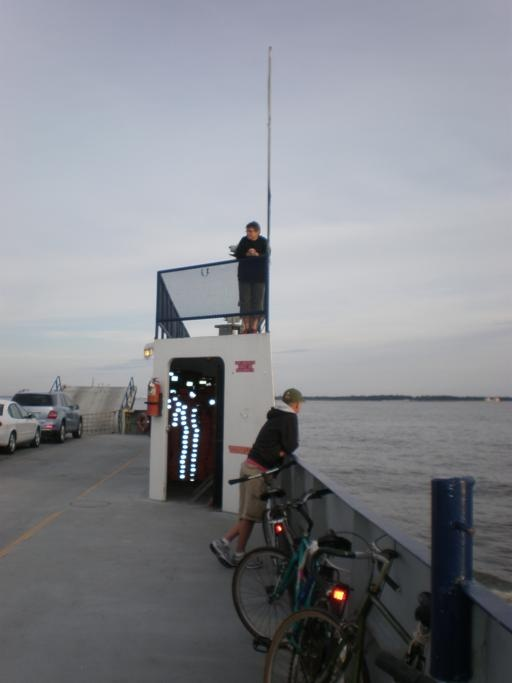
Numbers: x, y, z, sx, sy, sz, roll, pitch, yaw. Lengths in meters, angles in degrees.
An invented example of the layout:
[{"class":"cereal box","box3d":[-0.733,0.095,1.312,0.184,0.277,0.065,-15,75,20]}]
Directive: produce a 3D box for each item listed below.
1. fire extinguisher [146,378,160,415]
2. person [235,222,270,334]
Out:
[{"class":"fire extinguisher","box3d":[-1.565,0.860,9.604,0.218,0.412,0.351,-1,-1,2]},{"class":"person","box3d":[-0.024,-1.002,9.781,0.423,1.347,0.840,-1,-1,-37]}]
